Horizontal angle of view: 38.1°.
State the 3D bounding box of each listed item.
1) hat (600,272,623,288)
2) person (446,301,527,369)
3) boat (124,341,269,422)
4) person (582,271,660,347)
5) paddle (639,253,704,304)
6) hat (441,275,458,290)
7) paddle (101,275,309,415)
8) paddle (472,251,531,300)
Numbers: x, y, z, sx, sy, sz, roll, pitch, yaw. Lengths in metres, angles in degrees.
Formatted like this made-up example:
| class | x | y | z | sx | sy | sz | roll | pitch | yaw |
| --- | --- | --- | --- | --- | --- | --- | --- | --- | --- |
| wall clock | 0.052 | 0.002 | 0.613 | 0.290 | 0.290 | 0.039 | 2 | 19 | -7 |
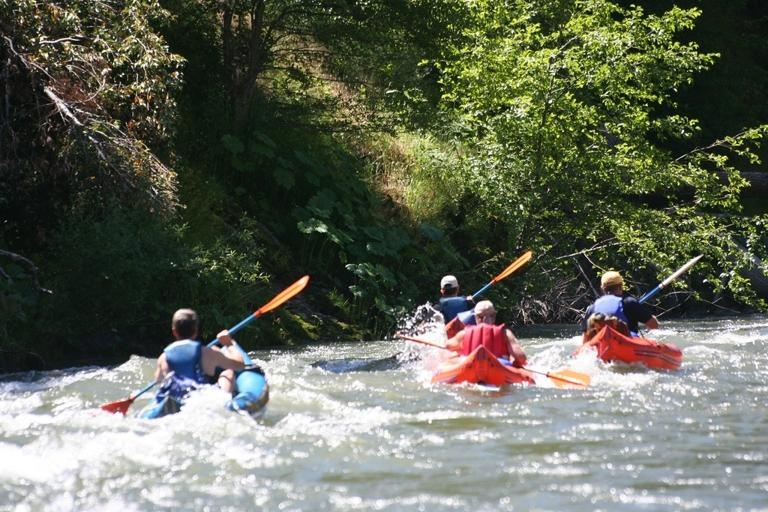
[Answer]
| class | x | y | z | sx | sy | sz | roll | pitch | yaw |
| --- | --- | --- | --- | --- | --- | --- | --- | --- | --- |
| hat | 3.907 | 0.391 | 19.180 | 0.320 | 0.246 | 0.392 | -11 | 2 | 9 |
| person | 1.732 | 1.237 | 18.438 | 0.860 | 0.565 | 1.209 | 11 | 6 | 2 |
| boat | -2.700 | 2.101 | 17.071 | 1.573 | 0.639 | 2.407 | -8 | 7 | 10 |
| person | 4.465 | 1.009 | 21.245 | 0.877 | 1.481 | 0.793 | 6 | 31 | 28 |
| paddle | 6.622 | 0.500 | 25.807 | 1.849 | 0.256 | 0.158 | -35 | -31 | 9 |
| hat | 1.082 | 0.451 | 19.871 | 0.292 | 0.235 | 0.495 | 4 | 2 | 20 |
| paddle | -3.217 | 1.513 | 18.944 | 3.616 | 0.192 | 0.405 | -31 | 27 | -20 |
| paddle | 2.308 | 0.503 | 22.989 | 2.722 | 0.317 | 0.381 | -42 | 18 | 56 |
